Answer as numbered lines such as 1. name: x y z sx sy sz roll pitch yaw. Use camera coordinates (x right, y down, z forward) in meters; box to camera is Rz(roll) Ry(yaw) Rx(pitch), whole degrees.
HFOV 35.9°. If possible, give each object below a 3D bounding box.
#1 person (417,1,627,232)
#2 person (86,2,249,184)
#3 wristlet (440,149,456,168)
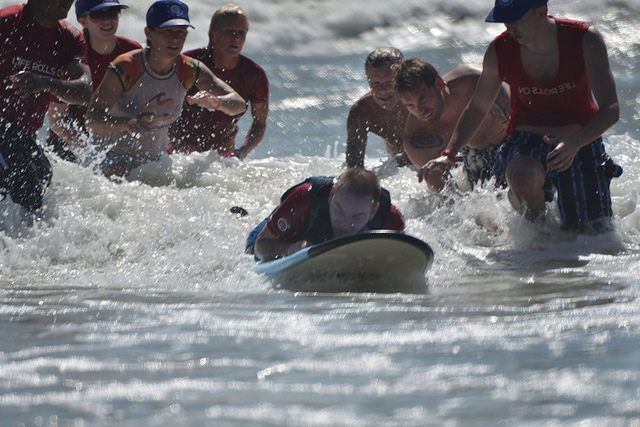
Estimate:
1. person: 1.563 -0.686 7.040 1.234 1.605 0.568 8 17 15
2. person: -1.314 -0.954 8.039 1.121 1.495 0.773 -2 17 -18
3. wristlet: 0.915 -0.416 7.246 0.035 0.122 0.119 -32 25 1
